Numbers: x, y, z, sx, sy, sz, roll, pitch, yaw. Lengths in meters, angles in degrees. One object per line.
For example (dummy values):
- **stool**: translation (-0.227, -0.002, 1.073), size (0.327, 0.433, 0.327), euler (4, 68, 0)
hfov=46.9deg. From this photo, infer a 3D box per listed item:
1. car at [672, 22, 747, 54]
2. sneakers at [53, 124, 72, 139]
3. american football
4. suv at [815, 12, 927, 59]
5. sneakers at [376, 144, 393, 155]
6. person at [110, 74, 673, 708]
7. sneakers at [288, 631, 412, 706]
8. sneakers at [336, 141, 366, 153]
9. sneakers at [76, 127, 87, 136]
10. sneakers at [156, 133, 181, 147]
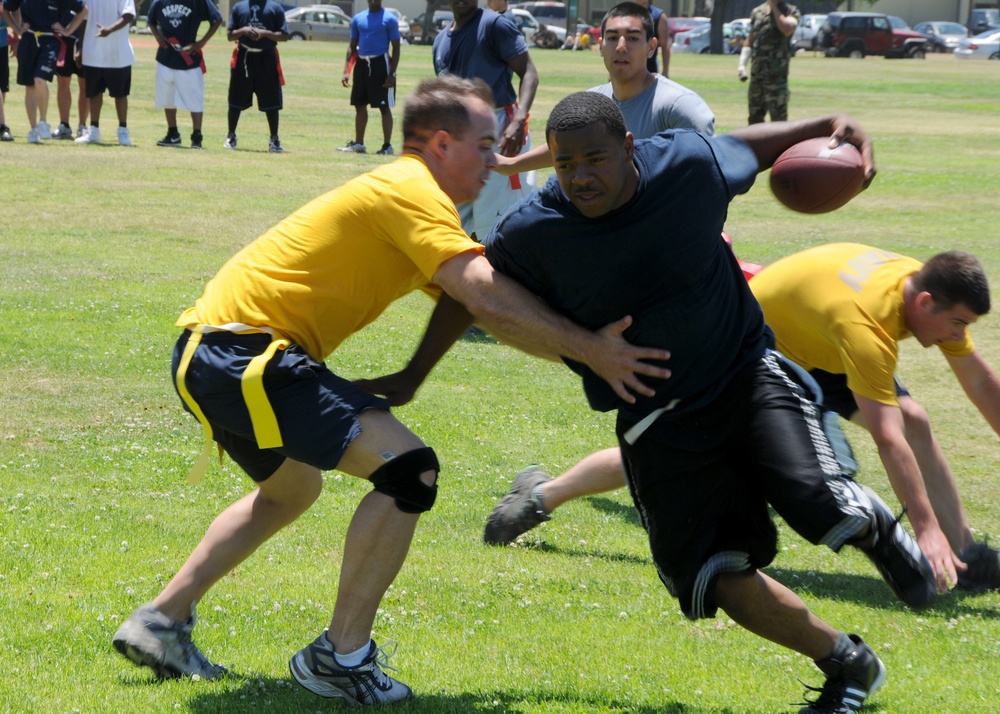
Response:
- **car**: translation (10.847, -15.947, 57.532), size (4.203, 1.155, 1.737), euler (-9, 14, -15)
- **sneakers**: translation (-7.014, -3.564, 18.334), size (0.435, 0.214, 0.173), euler (2, 4, 8)
- **american football**: translation (1.390, -0.783, 4.908), size (0.367, 0.311, 0.461), euler (13, -8, -38)
- **suv**: translation (17.211, -14.897, 53.362), size (4.291, 1.692, 2.285), euler (-2, 15, -3)
- **sneakers**: translation (-1.828, -3.327, 18.505), size (0.197, 0.206, 0.343), euler (-2, 14, -26)
- **person**: translation (-0.523, 0.287, 4.470), size (1.629, 2.063, 0.715), euler (7, 15, 5)
- **sneakers**: translation (-0.592, 1.193, 4.473), size (0.549, 0.240, 0.192), euler (17, 14, -16)
- **sneakers**: translation (-2.487, -3.369, 18.551), size (0.651, 0.220, 0.216), euler (3, 11, 7)
- **sneakers**: translation (-6.527, -3.545, 18.026), size (0.180, 0.176, 0.063), euler (-8, -37, 20)
- **sneakers**: translation (-5.331, -3.462, 18.400), size (0.494, 0.186, 0.183), euler (5, 9, 28)
